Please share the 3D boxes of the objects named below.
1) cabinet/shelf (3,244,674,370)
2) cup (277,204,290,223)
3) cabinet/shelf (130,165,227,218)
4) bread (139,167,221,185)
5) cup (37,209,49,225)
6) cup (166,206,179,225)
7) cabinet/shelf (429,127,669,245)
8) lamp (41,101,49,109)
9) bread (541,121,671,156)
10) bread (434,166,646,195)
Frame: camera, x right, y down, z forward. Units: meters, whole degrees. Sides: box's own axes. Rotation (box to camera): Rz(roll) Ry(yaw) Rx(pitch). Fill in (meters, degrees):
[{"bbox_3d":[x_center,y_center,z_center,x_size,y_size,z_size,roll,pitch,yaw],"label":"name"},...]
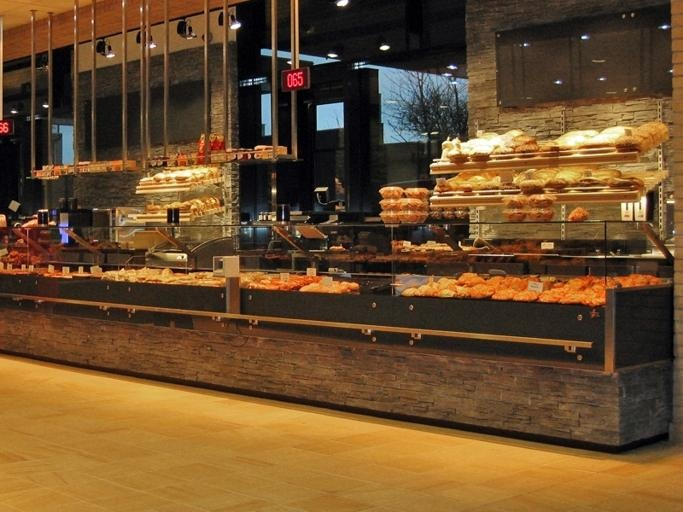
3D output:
[{"bbox_3d":[-0.968,0.361,5.338,6.614,0.551,0.675,1,2,30],"label":"cabinet/shelf"},{"bbox_3d":[-0.994,-0.759,10.567,0.200,0.286,0.264,-2,2,-42],"label":"cup"},{"bbox_3d":[-2.562,-0.952,9.277,1.678,0.777,0.880,-5,14,-44],"label":"cabinet/shelf"},{"bbox_3d":[-2.291,-1.151,8.777,1.066,0.302,0.499,0,2,-1],"label":"bread"},{"bbox_3d":[-4.047,-0.528,8.337,0.135,0.196,0.400,-1,2,-25],"label":"cup"},{"bbox_3d":[-2.237,-0.547,8.159,0.153,0.200,0.319,-1,2,-16],"label":"cup"},{"bbox_3d":[1.851,-0.822,5.547,2.065,0.364,1.752,-13,17,-23],"label":"cabinet/shelf"},{"bbox_3d":[-6.877,-3.511,14.216,0.086,0.230,0.341,-2,2,-32],"label":"lamp"},{"bbox_3d":[2.229,-0.989,5.225,0.778,0.344,0.768,1,2,35],"label":"bread"},{"bbox_3d":[1.676,-0.647,5.240,1.607,0.251,0.529,1,2,33],"label":"bread"}]
